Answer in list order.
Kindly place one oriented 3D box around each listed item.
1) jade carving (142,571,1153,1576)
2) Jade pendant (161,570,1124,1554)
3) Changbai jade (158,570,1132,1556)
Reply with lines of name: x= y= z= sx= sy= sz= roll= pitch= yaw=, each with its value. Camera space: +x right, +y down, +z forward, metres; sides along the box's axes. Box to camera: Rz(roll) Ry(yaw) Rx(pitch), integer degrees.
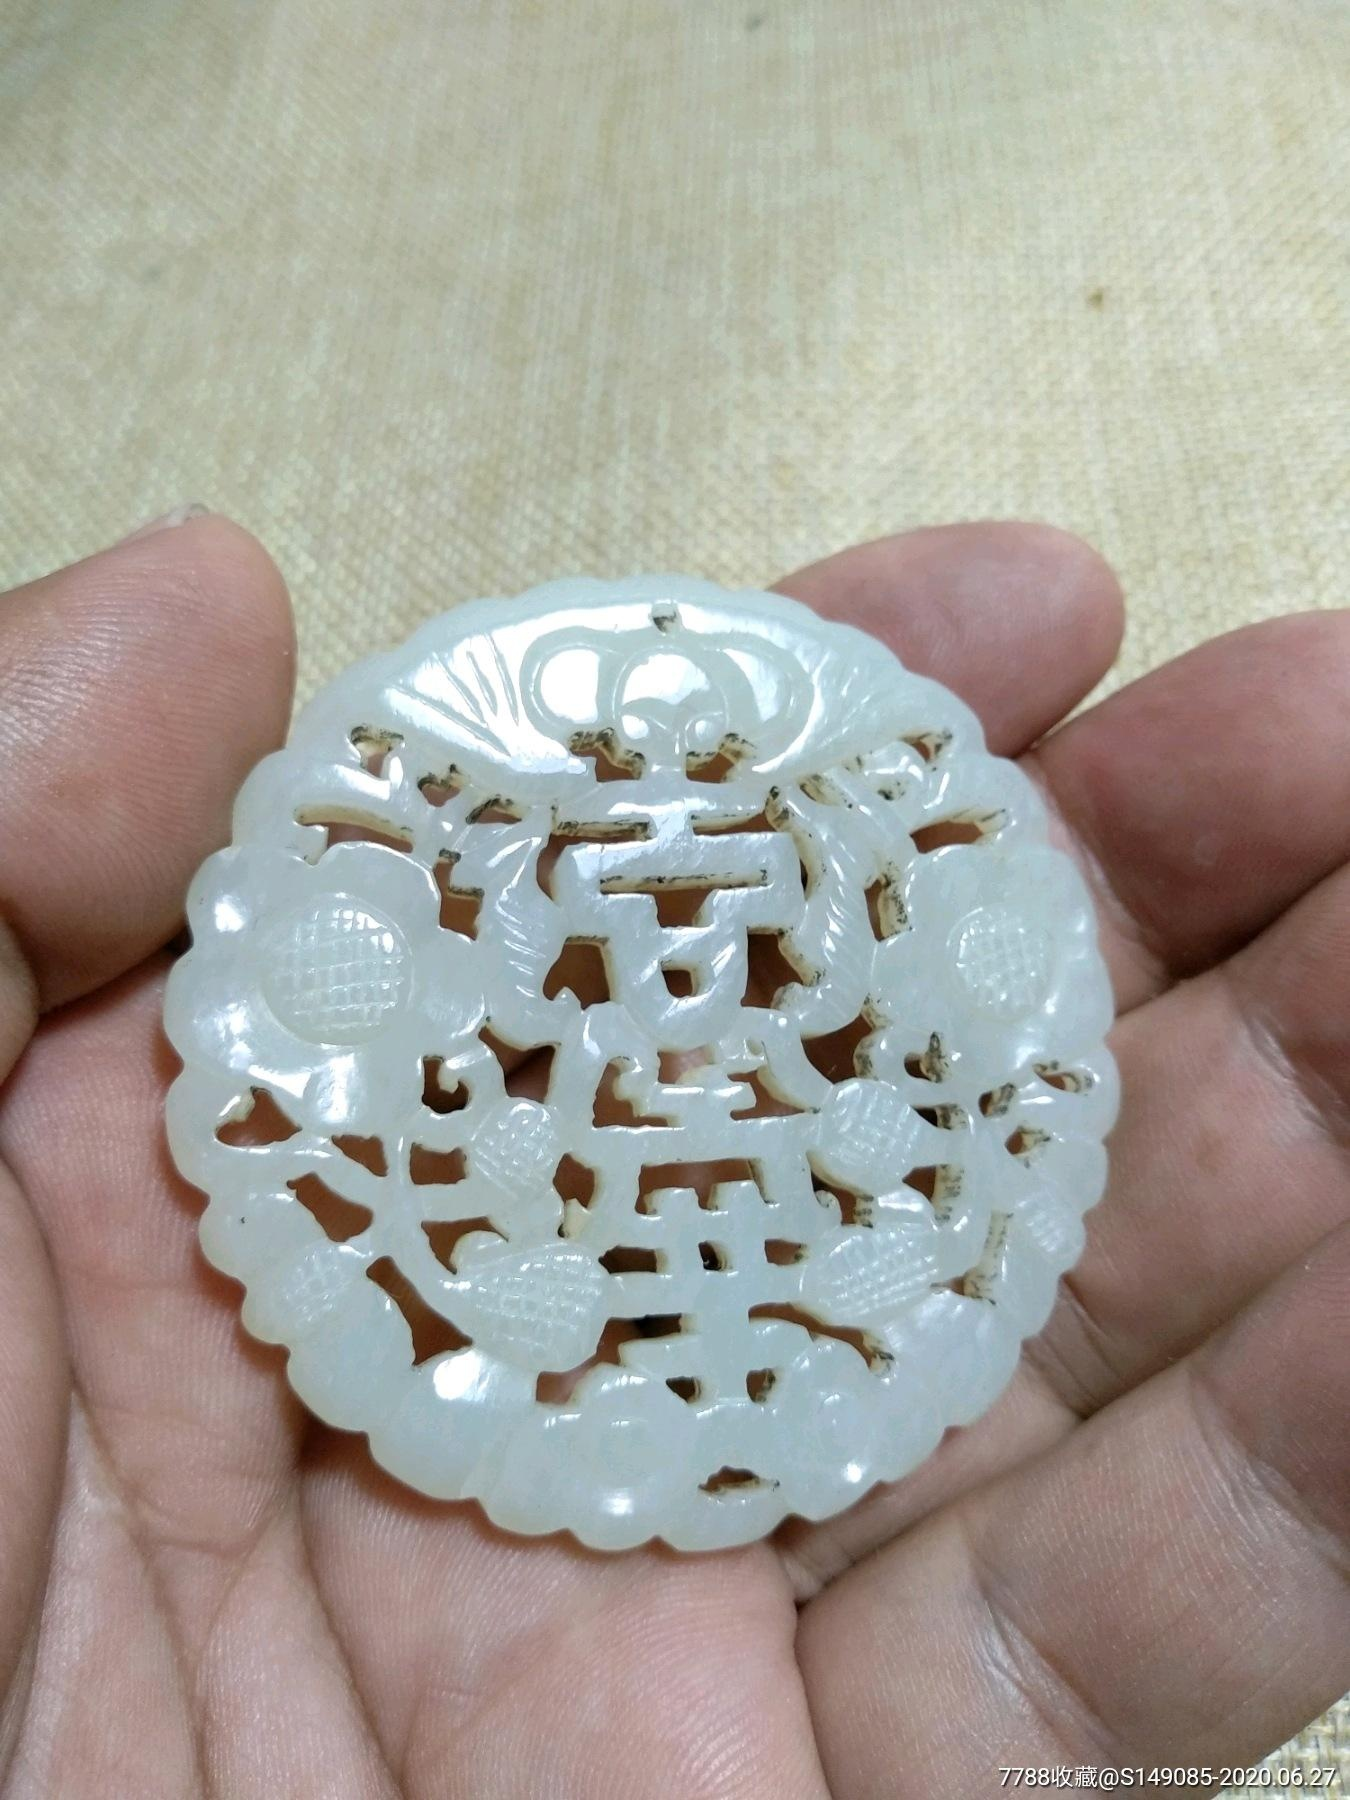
jade carving: x=-0.013 y=0.096 z=1.230 sx=0.628 sy=0.085 sz=0.553 roll=2 pitch=86 yaw=-8
Jade pendant: x=-0.031 y=0.115 z=1.238 sx=0.660 sy=0.084 sz=0.581 roll=3 pitch=86 yaw=-8
Changbai jade: x=-0.029 y=0.116 z=1.239 sx=0.662 sy=0.090 sz=0.583 roll=3 pitch=86 yaw=-8
